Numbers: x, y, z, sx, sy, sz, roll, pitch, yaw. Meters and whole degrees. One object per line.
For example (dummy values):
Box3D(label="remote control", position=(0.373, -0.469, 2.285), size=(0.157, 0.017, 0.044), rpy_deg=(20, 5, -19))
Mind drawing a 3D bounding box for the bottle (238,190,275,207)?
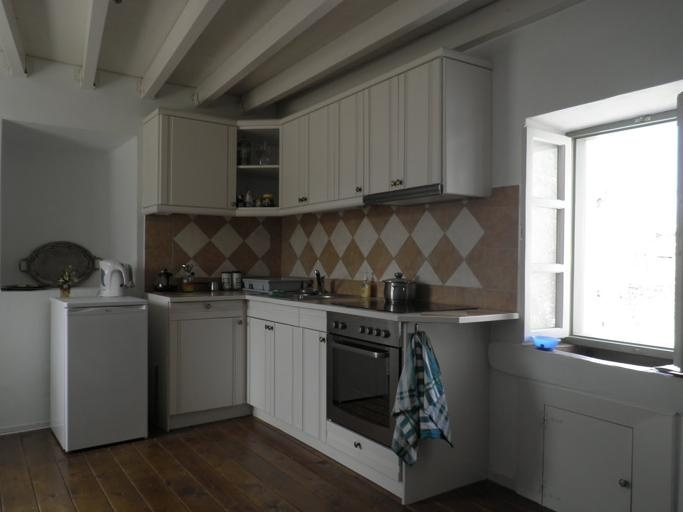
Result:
Box3D(label="bottle", position=(-0.855, -0.544, 5.238), size=(0.213, 0.102, 0.227), rpy_deg=(-1, 2, 0))

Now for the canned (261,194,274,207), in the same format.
Box3D(label="canned", position=(-0.733, -0.549, 5.255), size=(0.109, 0.129, 0.118), rpy_deg=(1, 4, 36))

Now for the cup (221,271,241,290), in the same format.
Box3D(label="cup", position=(-1.083, 0.239, 5.280), size=(0.206, 0.217, 0.147), rpy_deg=(1, -3, -31))

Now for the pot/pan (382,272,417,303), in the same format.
Box3D(label="pot/pan", position=(0.442, 0.229, 4.038), size=(0.209, 0.195, 0.219), rpy_deg=(0, 0, 33))

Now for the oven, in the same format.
Box3D(label="oven", position=(0.269, 0.818, 3.817), size=(0.678, 0.906, 0.639), rpy_deg=(4, 5, 33))

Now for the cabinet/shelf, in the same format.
Box3D(label="cabinet/shelf", position=(-0.501, 0.162, 4.159), size=(1.483, 3.111, 2.969), rpy_deg=(2, -2, -30))

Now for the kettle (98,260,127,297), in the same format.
Box3D(label="kettle", position=(-1.964, 0.195, 4.559), size=(0.210, 0.383, 0.342), rpy_deg=(2, -2, -40))
